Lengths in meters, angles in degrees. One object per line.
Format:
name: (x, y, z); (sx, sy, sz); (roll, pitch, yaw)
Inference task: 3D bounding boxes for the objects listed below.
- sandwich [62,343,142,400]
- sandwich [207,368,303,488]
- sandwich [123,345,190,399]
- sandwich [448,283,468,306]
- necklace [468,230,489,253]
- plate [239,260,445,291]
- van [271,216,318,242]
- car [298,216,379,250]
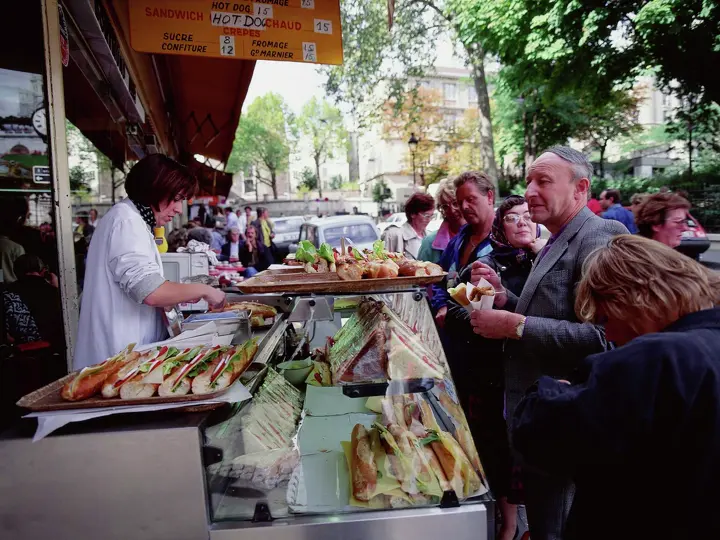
sandwich: (-1.153, 0.471, 2.396); (0.122, 0.121, 0.397); (23, 36, 28)
sandwich: (-0.511, 0.794, 2.562); (0.163, 0.313, 0.463); (-29, 20, 23)
sandwich: (-0.930, 0.449, 2.317); (0.140, 0.073, 0.213); (3, 31, 14)
sandwich: (0.588, 0.129, 3.044); (0.062, 0.147, 0.085); (13, 41, 43)
necklace: (1.037, -0.229, 4.466); (0.133, 0.070, 0.191); (-5, 56, 19)
plate: (-0.105, 0.031, 3.110); (1.138, 0.156, 0.741); (0, 5, -4)
van: (-3.128, -1.821, 22.121); (1.177, 0.852, 2.582); (-4, 12, -11)
car: (-0.478, -0.868, 10.821); (0.889, 0.813, 1.541); (-6, 14, -20)
